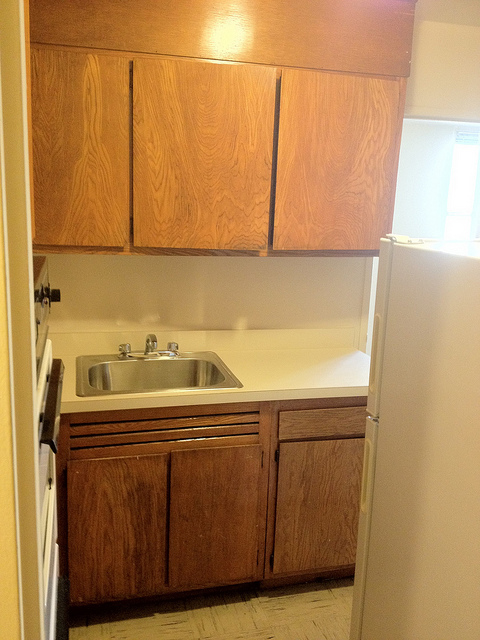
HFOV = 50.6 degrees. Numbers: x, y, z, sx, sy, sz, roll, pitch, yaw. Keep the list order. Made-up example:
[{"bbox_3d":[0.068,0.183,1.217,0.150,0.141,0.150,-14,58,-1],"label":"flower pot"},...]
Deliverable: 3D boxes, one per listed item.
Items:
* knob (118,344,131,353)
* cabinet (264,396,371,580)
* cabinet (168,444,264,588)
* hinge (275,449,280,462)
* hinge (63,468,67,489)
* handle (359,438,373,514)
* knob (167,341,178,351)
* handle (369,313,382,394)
[{"bbox_3d":[-0.487,0.115,2.133,0.034,0.034,0.031,5,4,8],"label":"knob"},{"bbox_3d":[0.304,0.570,2.218,0.417,1.033,0.492,-5,26,-6],"label":"cabinet"},{"bbox_3d":[-0.100,0.702,2.128,0.385,0.792,0.449,-1,8,-14],"label":"cabinet"},{"bbox_3d":[0.141,0.521,1.950,0.018,0.053,0.008,6,11,25],"label":"hinge"},{"bbox_3d":[-0.600,0.544,1.742,0.022,0.077,0.004,10,13,38],"label":"hinge"},{"bbox_3d":[0.294,0.369,1.186,0.011,0.172,0.030,6,1,14],"label":"handle"},{"bbox_3d":[-0.301,0.109,2.219,0.033,0.045,0.038,1,14,-4],"label":"knob"},{"bbox_3d":[0.310,0.075,1.150,0.014,0.202,0.065,4,1,-2],"label":"handle"}]
